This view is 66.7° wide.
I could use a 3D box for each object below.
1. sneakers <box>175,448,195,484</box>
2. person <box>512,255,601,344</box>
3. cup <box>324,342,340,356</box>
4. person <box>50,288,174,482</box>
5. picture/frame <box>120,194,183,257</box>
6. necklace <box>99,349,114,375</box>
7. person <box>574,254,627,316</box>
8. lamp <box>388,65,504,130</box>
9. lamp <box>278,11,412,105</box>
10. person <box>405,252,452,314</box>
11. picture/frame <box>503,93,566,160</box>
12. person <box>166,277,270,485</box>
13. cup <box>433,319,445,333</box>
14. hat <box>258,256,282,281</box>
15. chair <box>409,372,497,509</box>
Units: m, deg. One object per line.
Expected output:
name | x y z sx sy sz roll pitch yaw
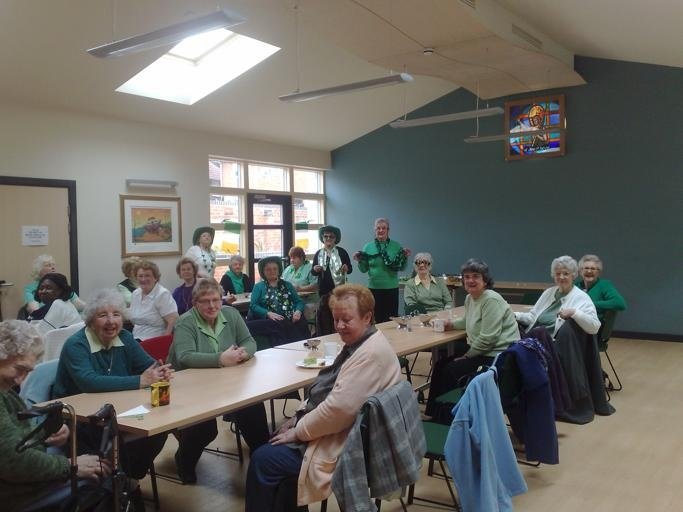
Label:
sneakers | -1.179 1.617 3.903 0.096 0.341 0.123 3 -3 -40
person | 2.038 0.450 4.909 0.508 0.898 0.945 2 -1 -23
cup | -0.069 0.717 3.899 0.096 0.081 0.078 1 -2 2
person | -1.531 0.872 3.371 0.789 1.216 0.559 8 6 37
picture/frame | -2.872 -0.437 7.714 0.065 0.979 0.926 -3 -3 40
necklace | -1.479 0.682 3.292 0.076 0.141 0.035 4 -18 -39
person | 2.748 0.445 5.686 0.593 0.868 0.426 -7 -12 40
lamp | 1.640 -2.170 7.692 1.325 0.764 2.971 0 6 15
lamp | 0.124 -1.920 5.893 1.428 0.415 1.635 0 6 11
person | 0.975 0.359 6.041 0.628 0.891 0.623 -1 -8 -2
picture/frame | 3.149 -2.080 8.309 1.041 1.106 0.147 0 0 40
person | -0.964 0.937 3.934 0.743 1.458 0.765 -3 6 -11
cup | 0.904 0.654 4.780 0.104 0.098 0.085 -1 -1 14
hat | -0.806 0.139 5.924 0.247 0.252 0.326 -2 6 -6
chair | 0.666 1.193 3.476 0.438 1.082 1.096 0 6 7
